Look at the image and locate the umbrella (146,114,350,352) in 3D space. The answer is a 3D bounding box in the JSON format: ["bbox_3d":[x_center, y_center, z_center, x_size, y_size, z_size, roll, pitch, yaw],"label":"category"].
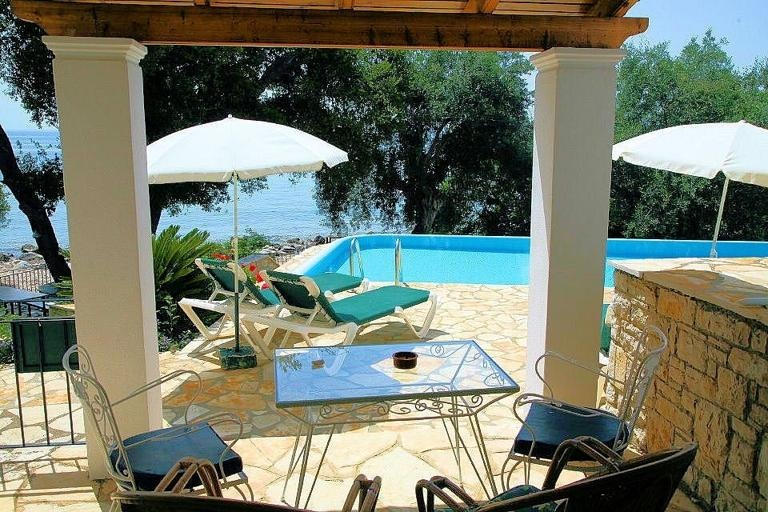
[{"bbox_3d":[-1.492,-0.522,6.237,2.035,1.927,1.969,0,11,3],"label":"umbrella"}]
